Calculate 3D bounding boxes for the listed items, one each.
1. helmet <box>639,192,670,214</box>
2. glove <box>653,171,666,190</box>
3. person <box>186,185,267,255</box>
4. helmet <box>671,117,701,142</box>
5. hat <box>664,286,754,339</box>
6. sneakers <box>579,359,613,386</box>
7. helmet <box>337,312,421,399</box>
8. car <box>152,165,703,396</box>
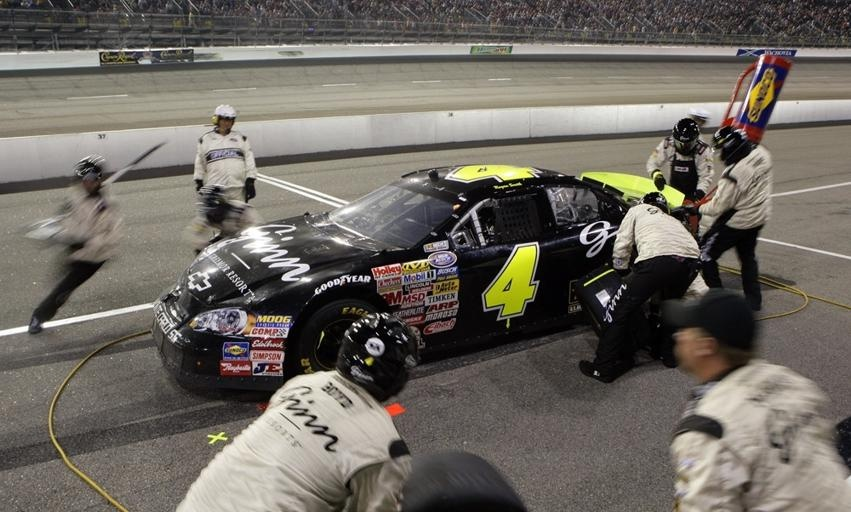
[{"bbox_3d":[2.840,-0.702,6.841,0.325,0.300,0.257,-1,19,26],"label":"helmet"},{"bbox_3d":[3.917,-1.229,9.208,0.237,0.142,0.365,-5,31,20],"label":"glove"},{"bbox_3d":[-2.682,-0.488,7.619,0.941,1.008,0.500,5,-3,3],"label":"person"},{"bbox_3d":[4.371,-2.047,9.300,0.429,0.451,0.447,8,-8,12],"label":"helmet"},{"bbox_3d":[1.613,0.336,3.158,0.409,0.189,0.267,24,28,21],"label":"hat"},{"bbox_3d":[1.955,1.322,6.317,0.422,0.138,0.207,20,40,32],"label":"sneakers"},{"bbox_3d":[-0.277,0.641,3.471,0.544,0.509,0.423,14,-9,-4],"label":"helmet"},{"bbox_3d":[0.154,0.088,6.803,6.264,1.556,2.356,-8,23,-21],"label":"car"}]
